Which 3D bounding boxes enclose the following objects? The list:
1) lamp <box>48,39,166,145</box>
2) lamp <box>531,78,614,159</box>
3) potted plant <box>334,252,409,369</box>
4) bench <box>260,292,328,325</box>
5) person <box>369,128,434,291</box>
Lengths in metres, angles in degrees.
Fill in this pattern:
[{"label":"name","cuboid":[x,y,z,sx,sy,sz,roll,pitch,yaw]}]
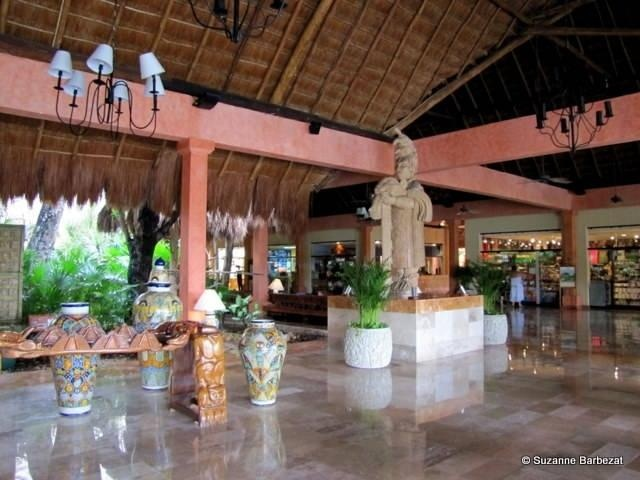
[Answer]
[{"label":"lamp","cuboid":[-2.326,-1.658,5.153,0.966,0.892,1.178,-2,-10,24]},{"label":"lamp","cuboid":[3.666,-1.743,6.899,1.000,1.064,1.089,1,-2,-37]},{"label":"potted plant","cuboid":[0.578,0.890,5.784,0.621,1.212,0.782,0,-3,7]},{"label":"bench","cuboid":[-0.512,1.587,10.802,1.796,0.641,0.661,-6,-8,41]},{"label":"person","cuboid":[1.165,-0.434,6.774,0.871,2.208,0.347,1,-4,-22]}]
